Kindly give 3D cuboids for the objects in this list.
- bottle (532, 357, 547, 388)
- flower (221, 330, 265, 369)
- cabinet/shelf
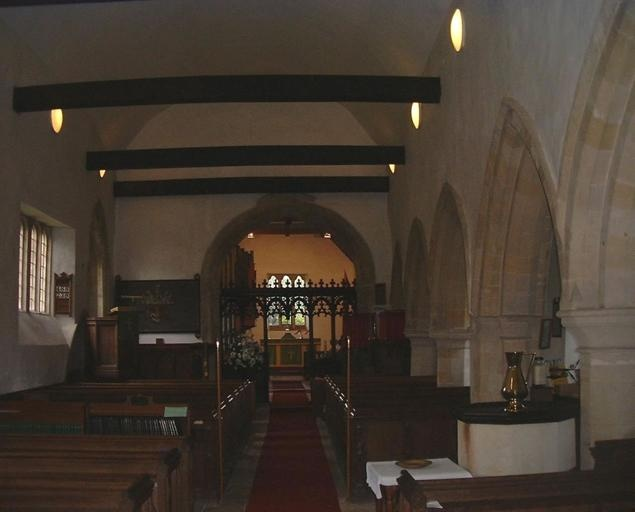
[{"bbox_3d":[2.053,1.057,7.056,0.123,0.263,0.325,-3,-8,14],"label":"bottle"},{"bbox_3d":[-1.397,1.819,14.415,0.741,0.661,0.919,0,-8,-8],"label":"flower"},{"bbox_3d":[-3.111,1.451,12.068,1.016,1.341,0.848,-1,-9,2],"label":"cabinet/shelf"}]
